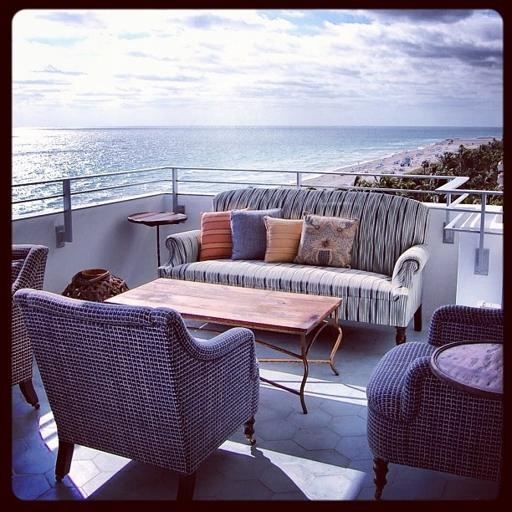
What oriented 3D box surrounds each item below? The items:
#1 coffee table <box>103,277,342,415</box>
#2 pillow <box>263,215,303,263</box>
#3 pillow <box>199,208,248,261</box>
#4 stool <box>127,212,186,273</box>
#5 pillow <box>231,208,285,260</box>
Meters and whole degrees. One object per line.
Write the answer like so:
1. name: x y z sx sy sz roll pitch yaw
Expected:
1. coffee table: -0.024 0.322 2.821 1.689 0.551 0.769 5 14 24
2. pillow: 0.318 -0.114 3.817 0.479 0.415 0.173 8 13 34
3. pillow: -0.303 -0.183 3.936 0.547 0.471 0.187 -2 -8 -1
4. stool: -1.056 -0.155 4.456 0.503 0.542 0.504 -11 -13 40
5. pillow: 0.005 -0.200 4.000 0.588 0.506 0.199 -4 6 -25
